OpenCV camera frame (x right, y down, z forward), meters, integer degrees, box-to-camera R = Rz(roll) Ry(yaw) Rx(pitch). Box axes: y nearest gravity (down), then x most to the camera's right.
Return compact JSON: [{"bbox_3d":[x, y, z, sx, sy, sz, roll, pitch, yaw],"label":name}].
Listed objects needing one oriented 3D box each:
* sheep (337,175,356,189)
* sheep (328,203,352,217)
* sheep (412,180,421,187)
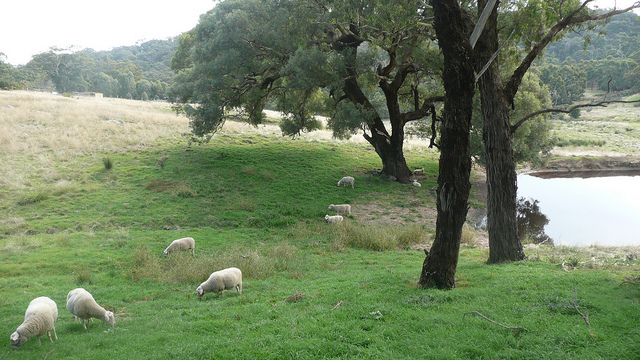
[{"bbox_3d":[3.260,0.215,63.501,2.099,1.296,1.782,5,10,1],"label":"sheep"},{"bbox_3d":[2.369,3.282,58.365,2.538,1.170,1.709,6,10,7],"label":"sheep"},{"bbox_3d":[12.014,0.462,65.029,0.855,0.545,1.530,4,10,-9],"label":"sheep"}]
